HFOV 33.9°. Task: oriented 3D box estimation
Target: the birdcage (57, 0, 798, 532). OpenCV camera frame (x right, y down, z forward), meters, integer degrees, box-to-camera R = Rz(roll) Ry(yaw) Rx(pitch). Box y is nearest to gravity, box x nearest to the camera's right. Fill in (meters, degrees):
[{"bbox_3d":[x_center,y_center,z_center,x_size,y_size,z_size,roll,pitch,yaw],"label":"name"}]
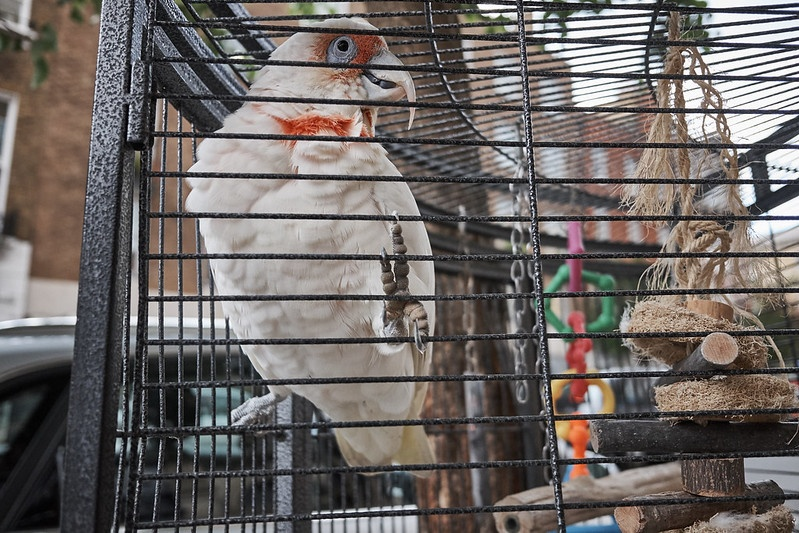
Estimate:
[{"bbox_3d":[0.198,0.003,6.852,3.262,1.747,2.906,4,72,-16],"label":"birdcage"}]
